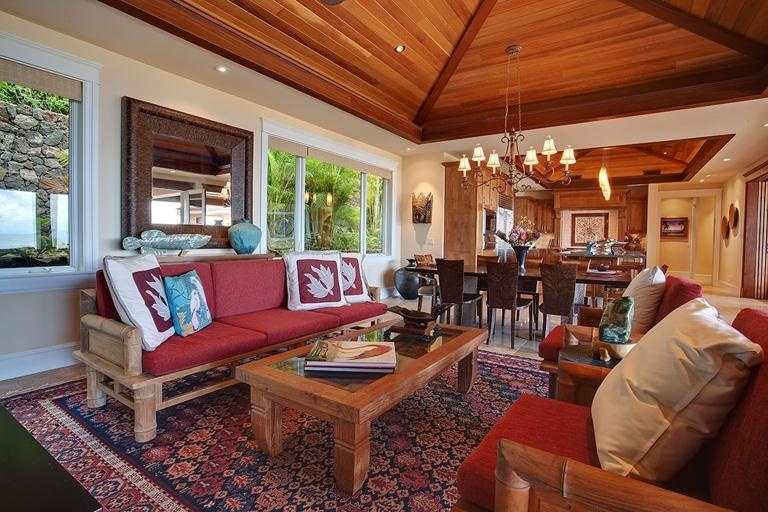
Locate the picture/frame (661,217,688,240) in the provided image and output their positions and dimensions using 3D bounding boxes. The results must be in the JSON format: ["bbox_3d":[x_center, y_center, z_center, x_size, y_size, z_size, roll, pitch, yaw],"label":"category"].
[{"bbox_3d":[7.639,-0.737,12.680,0.050,0.583,0.667,-1,4,-41],"label":"picture/frame"}]

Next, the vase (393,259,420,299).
[{"bbox_3d":[0.302,0.517,8.413,0.595,0.573,0.539,-6,-27,-1],"label":"vase"}]

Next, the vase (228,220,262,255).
[{"bbox_3d":[-1.673,-0.237,5.796,0.418,0.388,0.389,-2,9,-34],"label":"vase"}]

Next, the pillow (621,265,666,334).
[{"bbox_3d":[2.285,0.443,4.210,0.299,0.503,0.746,4,-5,15],"label":"pillow"}]

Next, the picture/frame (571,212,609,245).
[{"bbox_3d":[5.032,-0.643,11.813,0.059,0.818,0.932,-3,3,-40],"label":"picture/frame"}]

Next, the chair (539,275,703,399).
[{"bbox_3d":[1.983,0.731,4.080,1.318,1.083,1.161,-3,4,5],"label":"chair"}]

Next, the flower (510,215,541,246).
[{"bbox_3d":[1.827,-0.344,6.335,0.552,0.316,0.664,-2,-6,6],"label":"flower"}]
